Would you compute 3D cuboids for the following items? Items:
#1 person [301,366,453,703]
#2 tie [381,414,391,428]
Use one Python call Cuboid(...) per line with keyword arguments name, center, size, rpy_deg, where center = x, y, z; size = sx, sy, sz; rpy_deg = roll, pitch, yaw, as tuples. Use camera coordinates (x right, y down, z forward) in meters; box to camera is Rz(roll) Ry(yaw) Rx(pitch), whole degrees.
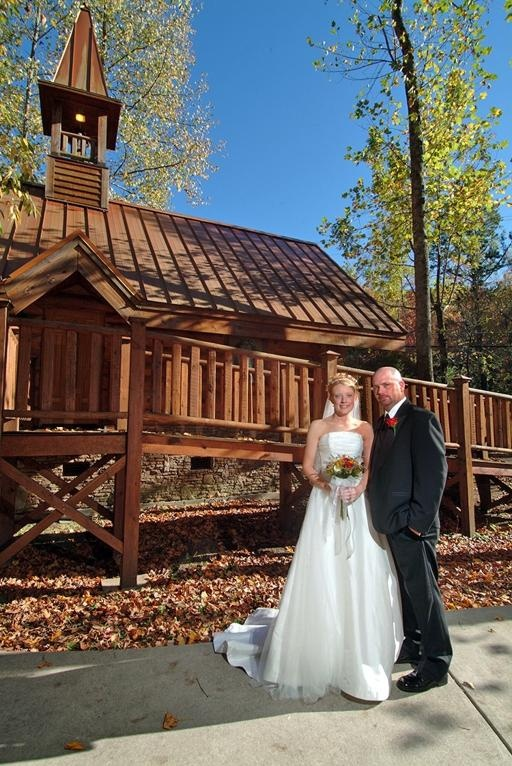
Cuboid(name="person", center=(1.068, 0.951, 3.942), size=(0.550, 2.175, 0.537), rpy_deg=(-4, -6, 11))
Cuboid(name="tie", center=(0.967, 0.295, 4.136), size=(0.066, 0.077, 0.201), rpy_deg=(0, 5, 6))
